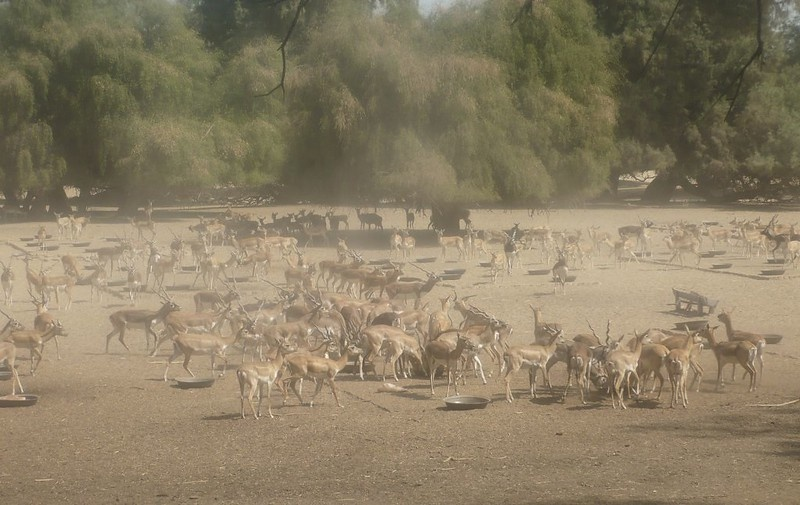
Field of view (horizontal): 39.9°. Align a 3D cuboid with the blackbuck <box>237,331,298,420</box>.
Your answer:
[{"bbox_3d":[-5.674,5.169,44.977,1.660,2.901,2.159,11,16,42],"label":"blackbuck"}]
